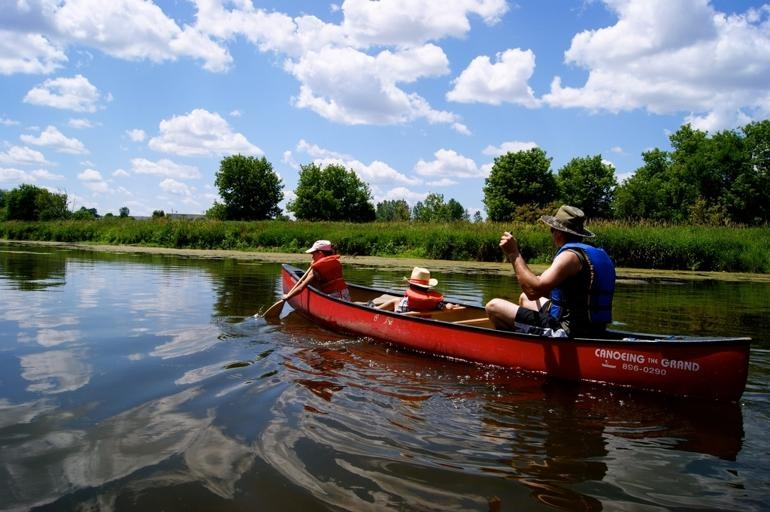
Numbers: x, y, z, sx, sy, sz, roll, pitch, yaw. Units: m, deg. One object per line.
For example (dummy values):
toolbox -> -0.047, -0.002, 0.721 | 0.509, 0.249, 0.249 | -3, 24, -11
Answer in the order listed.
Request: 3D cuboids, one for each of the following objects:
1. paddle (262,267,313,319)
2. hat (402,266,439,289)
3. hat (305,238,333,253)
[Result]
paddle -> -1.961, 0.760, 10.809 | 1.686, 0.234, 0.087 | -38, 9, 40
hat -> 0.622, 0.314, 8.718 | 0.429, 0.180, 0.493 | 9, -13, 22
hat -> -1.223, -0.186, 9.709 | 0.515, 0.232, 0.330 | 1, -5, 4
